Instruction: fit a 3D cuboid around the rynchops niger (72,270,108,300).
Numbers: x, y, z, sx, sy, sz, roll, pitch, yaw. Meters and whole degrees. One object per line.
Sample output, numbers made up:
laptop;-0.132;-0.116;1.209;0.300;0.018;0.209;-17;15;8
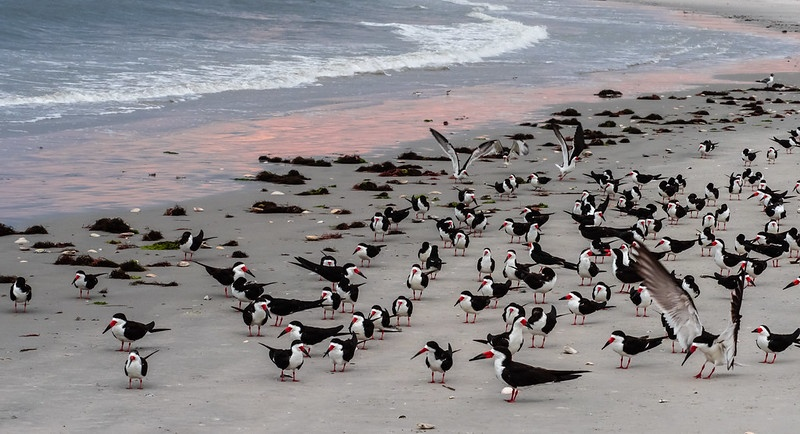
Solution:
rynchops niger;-12.845;2.702;36.762;0.984;1.133;1.252;-8;22;-17
